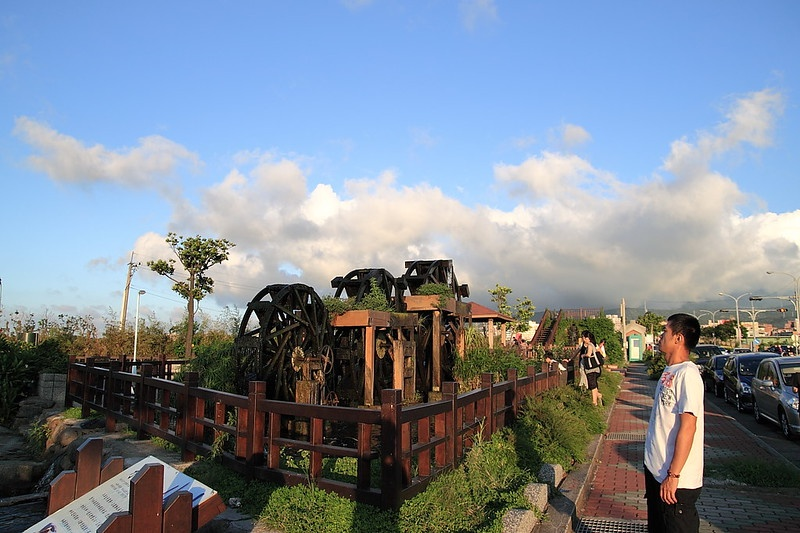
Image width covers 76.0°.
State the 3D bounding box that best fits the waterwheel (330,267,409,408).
[{"bbox_3d":[-0.761,1.803,14.735,2.283,4.141,3.943,1,-9,-4],"label":"waterwheel"}]

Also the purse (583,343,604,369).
[{"bbox_3d":[5.587,2.629,15.142,0.543,0.796,0.776,-8,-13,42],"label":"purse"}]

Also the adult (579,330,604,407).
[{"bbox_3d":[5.687,3.010,15.239,0.600,2.090,0.850,0,-9,9],"label":"adult"}]

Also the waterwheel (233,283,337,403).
[{"bbox_3d":[-2.658,1.859,12.522,2.471,2.829,1.182,9,-13,-44],"label":"waterwheel"}]

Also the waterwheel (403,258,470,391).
[{"bbox_3d":[1.283,2.115,17.935,1.901,5.371,6.095,-5,-7,10],"label":"waterwheel"}]
